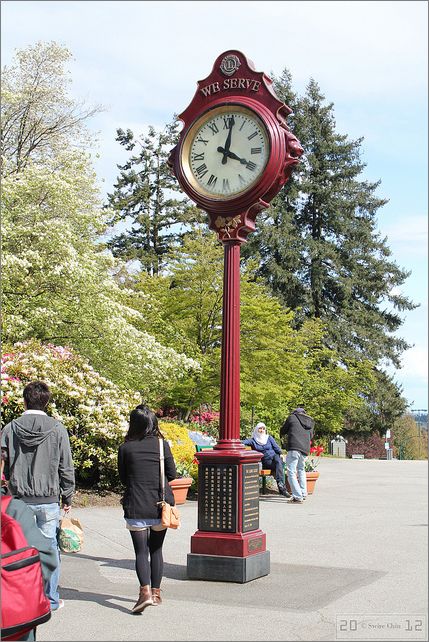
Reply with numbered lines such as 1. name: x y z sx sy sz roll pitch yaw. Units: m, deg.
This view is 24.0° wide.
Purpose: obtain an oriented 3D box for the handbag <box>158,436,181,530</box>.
1. handbag: -0.366 1.289 8.024 0.173 0.694 0.263 2 -4 -4

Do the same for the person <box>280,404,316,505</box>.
1. person: 1.272 2.029 15.387 0.482 1.401 0.836 1 -4 5

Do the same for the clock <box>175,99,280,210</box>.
1. clock: 0.100 -1.635 9.800 1.046 0.920 0.123 -2 -5 38

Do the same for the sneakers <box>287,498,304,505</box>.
1. sneakers: 1.212 2.682 15.085 0.088 0.080 0.191 8 -9 -31

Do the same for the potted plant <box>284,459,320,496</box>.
1. potted plant: 1.662 2.599 17.082 0.706 0.434 0.688 3 -11 -18

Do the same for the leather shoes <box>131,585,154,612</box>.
1. leather shoes: -0.547 2.125 7.720 0.100 0.170 0.253 6 -35 -20

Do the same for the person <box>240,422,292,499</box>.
1. person: 0.853 2.106 15.586 0.592 1.018 0.939 -5 0 -26
